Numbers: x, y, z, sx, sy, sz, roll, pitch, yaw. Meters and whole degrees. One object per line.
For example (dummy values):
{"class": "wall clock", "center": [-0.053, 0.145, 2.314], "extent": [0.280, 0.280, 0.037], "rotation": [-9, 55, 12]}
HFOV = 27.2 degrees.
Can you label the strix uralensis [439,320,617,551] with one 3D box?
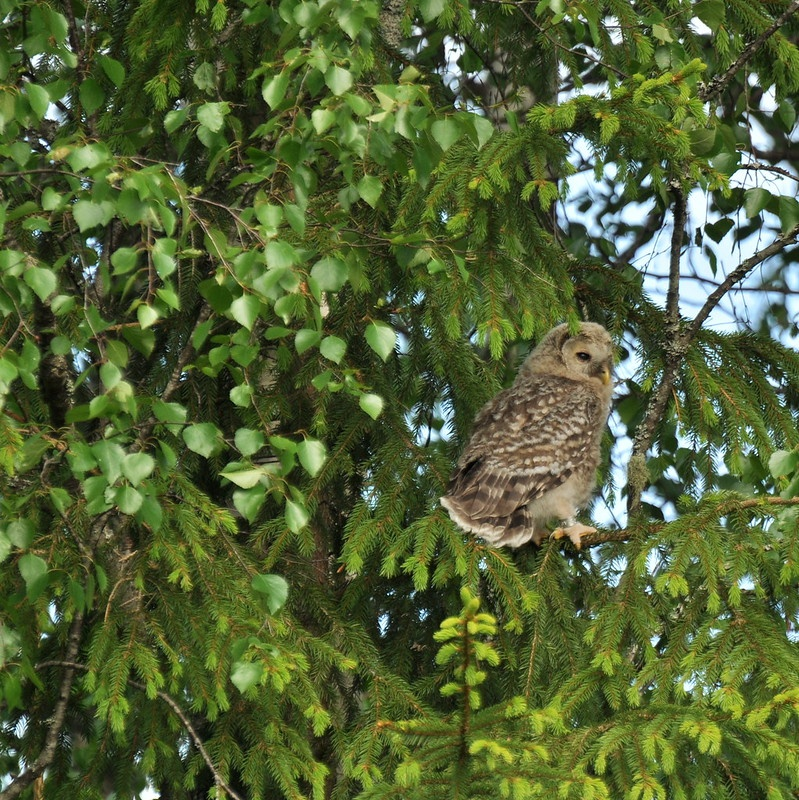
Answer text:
{"class": "strix uralensis", "center": [0.572, 0.245, 7.503], "extent": [0.762, 1.316, 0.624], "rotation": [14, -32, -21]}
